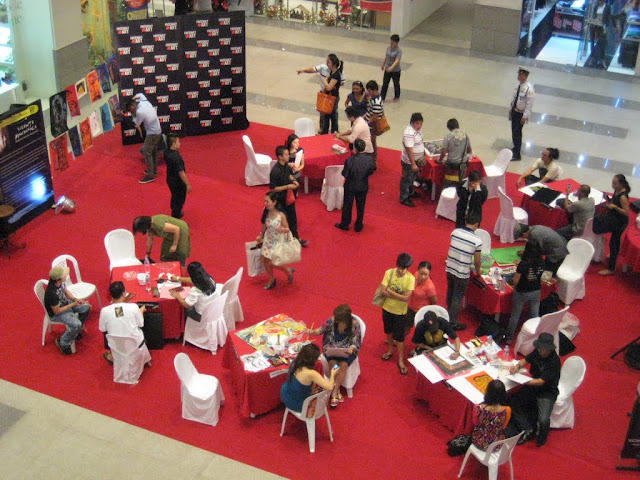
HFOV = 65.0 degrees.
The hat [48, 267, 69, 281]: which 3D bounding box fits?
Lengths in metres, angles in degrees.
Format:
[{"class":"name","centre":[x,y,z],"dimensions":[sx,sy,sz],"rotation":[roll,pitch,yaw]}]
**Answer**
[{"class":"hat","centre":[-3.614,0.456,6.977],"dimensions":[0.250,0.137,0.190],"rotation":[-13,79,-9]}]

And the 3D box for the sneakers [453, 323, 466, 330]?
[{"class":"sneakers","centre":[2.141,1.345,7.775],"dimensions":[0.168,0.126,0.064],"rotation":[-11,60,3]}]

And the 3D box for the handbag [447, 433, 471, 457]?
[{"class":"handbag","centre":[1.696,2.511,6.140],"dimensions":[0.099,0.298,0.197],"rotation":[3,59,-59]}]

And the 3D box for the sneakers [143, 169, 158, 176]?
[{"class":"sneakers","centre":[-3.717,-1.466,10.983],"dimensions":[0.263,0.194,0.102],"rotation":[14,58,-3]}]

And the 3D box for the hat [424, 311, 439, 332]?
[{"class":"hat","centre":[1.491,1.088,6.714],"dimensions":[0.140,0.124,0.245],"rotation":[-6,56,7]}]

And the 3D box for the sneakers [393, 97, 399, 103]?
[{"class":"sneakers","centre":[2.178,-4.033,14.458],"dimensions":[0.107,0.092,0.201],"rotation":[10,18,29]}]

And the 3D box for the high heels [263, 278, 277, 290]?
[{"class":"high heels","centre":[-0.835,0.752,8.432],"dimensions":[0.094,0.255,0.095],"rotation":[22,43,-14]}]

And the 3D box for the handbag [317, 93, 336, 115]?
[{"class":"handbag","centre":[0.150,-3.173,11.668],"dimensions":[0.362,0.503,0.162],"rotation":[11,24,0]}]

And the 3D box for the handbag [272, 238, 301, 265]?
[{"class":"handbag","centre":[-0.567,0.180,8.076],"dimensions":[0.331,0.365,0.176],"rotation":[-9,41,-16]}]

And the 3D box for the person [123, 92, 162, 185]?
[{"class":"person","centre":[-3.965,-2.261,11.199],"dimensions":[0.816,2.289,0.889],"rotation":[12,34,-1]}]

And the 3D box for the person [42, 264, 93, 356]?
[{"class":"person","centre":[-3.730,1.092,7.384],"dimensions":[0.526,1.135,0.571],"rotation":[4,46,-10]}]

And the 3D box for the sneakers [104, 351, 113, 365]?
[{"class":"sneakers","centre":[-3.015,1.678,7.135],"dimensions":[0.072,0.159,0.225],"rotation":[-20,58,-24]}]

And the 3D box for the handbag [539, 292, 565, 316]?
[{"class":"handbag","centre":[3.649,1.034,7.991],"dimensions":[0.296,0.419,0.356],"rotation":[17,-4,3]}]

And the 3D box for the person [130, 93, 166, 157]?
[{"class":"person","centre":[-3.847,-2.504,11.145],"dimensions":[0.621,1.342,1.030],"rotation":[-5,24,-20]}]

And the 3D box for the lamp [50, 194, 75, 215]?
[{"class":"lamp","centre":[-5.131,-0.681,9.999],"dimensions":[0.285,0.390,0.343],"rotation":[21,42,-41]}]

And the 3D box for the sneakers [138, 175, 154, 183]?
[{"class":"sneakers","centre":[-3.835,-1.321,10.943],"dimensions":[0.357,0.161,0.130],"rotation":[-3,34,0]}]

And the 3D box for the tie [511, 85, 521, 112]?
[{"class":"tie","centre":[4.537,-3.270,11.645],"dimensions":[0.087,0.405,0.241],"rotation":[11,16,-1]}]

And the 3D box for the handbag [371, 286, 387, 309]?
[{"class":"handbag","centre":[0.855,0.855,7.353],"dimensions":[0.176,0.427,0.212],"rotation":[-32,59,-23]}]

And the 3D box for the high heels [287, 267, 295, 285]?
[{"class":"high heels","centre":[-0.505,0.615,8.480],"dimensions":[0.067,0.278,0.092],"rotation":[-6,12,-44]}]

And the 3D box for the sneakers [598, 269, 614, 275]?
[{"class":"sneakers","centre":[5.119,0.586,8.989],"dimensions":[0.279,0.127,0.103],"rotation":[1,24,9]}]

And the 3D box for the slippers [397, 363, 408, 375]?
[{"class":"slippers","centre":[1.187,1.837,7.176],"dimensions":[0.134,0.109,0.143],"rotation":[5,23,2]}]

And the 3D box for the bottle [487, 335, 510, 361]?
[{"class":"bottle","centre":[2.426,1.489,6.856],"dimensions":[0.365,0.105,0.414],"rotation":[0,37,-5]}]
